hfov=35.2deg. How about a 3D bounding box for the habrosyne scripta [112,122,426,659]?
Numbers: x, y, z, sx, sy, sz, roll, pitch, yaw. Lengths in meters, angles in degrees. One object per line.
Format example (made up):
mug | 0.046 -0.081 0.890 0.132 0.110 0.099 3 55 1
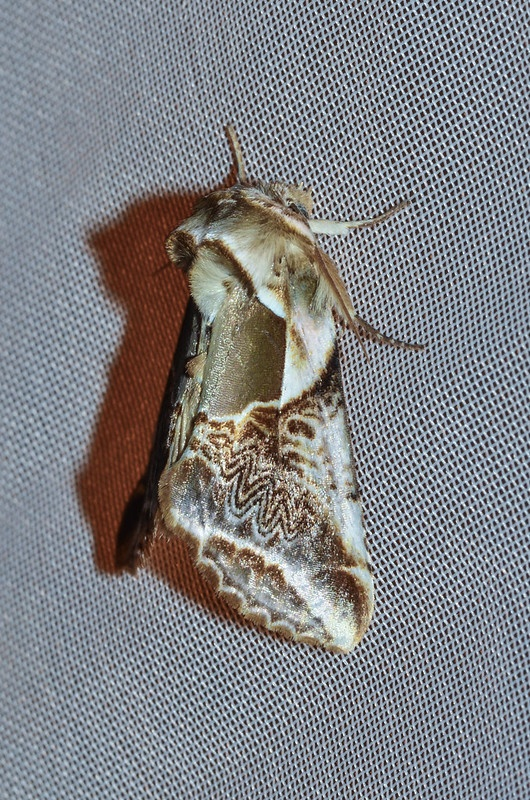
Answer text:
habrosyne scripta | 0.001 0.000 0.769 0.285 0.114 0.407 2 92 22
